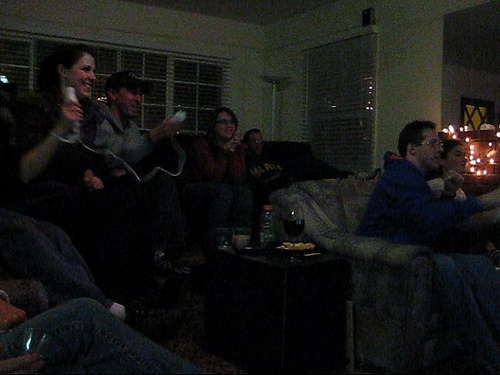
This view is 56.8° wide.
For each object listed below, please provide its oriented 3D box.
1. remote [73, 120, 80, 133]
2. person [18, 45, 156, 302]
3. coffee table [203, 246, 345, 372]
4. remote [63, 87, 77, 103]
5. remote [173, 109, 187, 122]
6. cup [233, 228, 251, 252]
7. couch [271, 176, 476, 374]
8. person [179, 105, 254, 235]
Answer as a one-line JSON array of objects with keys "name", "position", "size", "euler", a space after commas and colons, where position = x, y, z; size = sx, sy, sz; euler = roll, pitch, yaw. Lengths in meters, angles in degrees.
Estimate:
[{"name": "remote", "position": [-0.665, -0.225, 1.770], "size": [0.028, 0.049, 0.031], "euler": [2, 4, 13]}, {"name": "person", "position": [-0.783, -0.050, 2.148], "size": [0.620, 1.194, 0.608], "euler": [-1, -3, 8]}, {"name": "coffee table", "position": [0.070, 0.541, 2.070], "size": [0.666, 0.516, 0.291], "euler": [3, 6, 27]}, {"name": "remote", "position": [-0.689, -0.344, 1.778], "size": [0.041, 0.060, 0.062], "euler": [-2, 6, -22]}, {"name": "remote", "position": [-0.292, -0.284, 1.910], "size": [0.050, 0.046, 0.040], "euler": [-1, 5, -11]}, {"name": "cup", "position": [-0.048, 0.268, 2.249], "size": [0.080, 0.096, 0.084], "euler": [0, -3, 0]}, {"name": "couch", "position": [0.660, 0.457, 2.340], "size": [0.746, 0.777, 1.046], "euler": [-2, -2, 35]}, {"name": "person", "position": [-0.237, -0.136, 3.315], "size": [0.534, 0.819, 0.957], "euler": [0, 6, 0]}]
